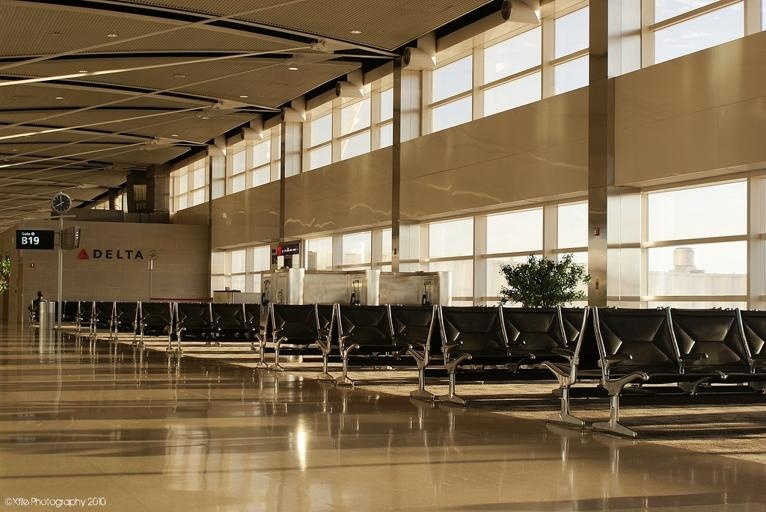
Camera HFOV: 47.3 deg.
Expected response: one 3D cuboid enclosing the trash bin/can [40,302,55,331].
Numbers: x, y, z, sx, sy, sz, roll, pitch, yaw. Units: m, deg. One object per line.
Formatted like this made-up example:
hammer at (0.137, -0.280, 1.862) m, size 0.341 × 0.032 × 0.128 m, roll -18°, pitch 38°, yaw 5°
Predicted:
trash bin/can at (-10.979, 1.954, 28.545) m, size 0.387 × 0.962 × 0.865 m, roll 1°, pitch -7°, yaw -10°
